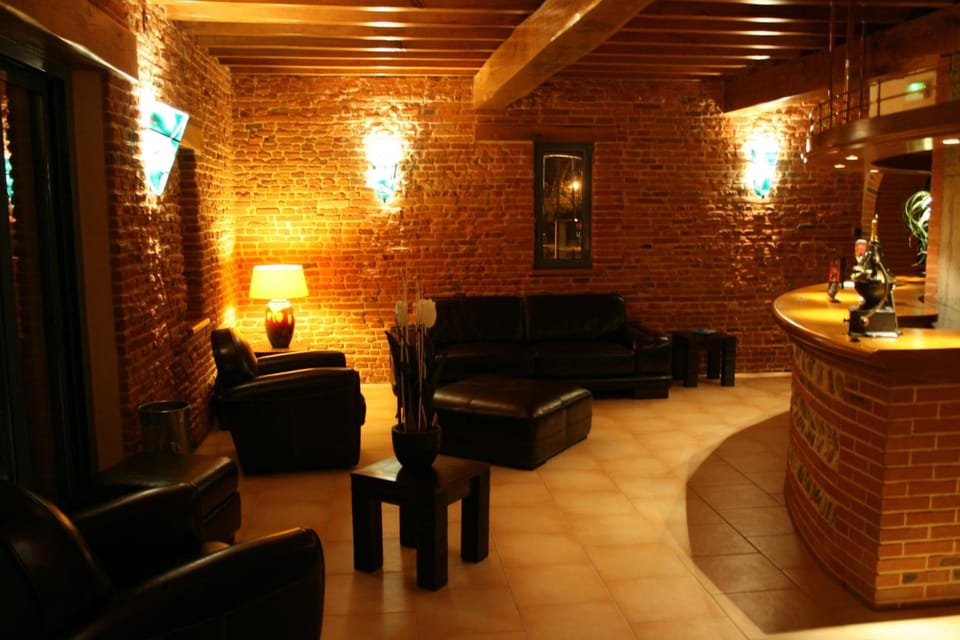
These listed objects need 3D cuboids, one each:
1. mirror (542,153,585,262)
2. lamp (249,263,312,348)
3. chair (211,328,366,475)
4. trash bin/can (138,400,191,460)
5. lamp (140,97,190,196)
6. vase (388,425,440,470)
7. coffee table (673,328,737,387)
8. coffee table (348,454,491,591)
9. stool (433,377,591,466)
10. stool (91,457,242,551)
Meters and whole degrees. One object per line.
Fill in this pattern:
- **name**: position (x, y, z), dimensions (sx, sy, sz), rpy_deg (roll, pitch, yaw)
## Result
- **mirror**: position (1.007, -1.358, 8.731), dimensions (0.537, 1.276, 0.276), rpy_deg (1, 16, 4)
- **lamp**: position (-2.299, -0.181, 7.993), dimensions (0.876, 1.084, 0.831), rpy_deg (-2, 3, -23)
- **chair**: position (-1.592, 0.587, 6.320), dimensions (1.310, 1.065, 1.260), rpy_deg (-2, 8, -15)
- **trash bin/can**: position (-2.056, 0.712, 4.817), dimensions (0.364, 0.371, 0.349), rpy_deg (1, 7, 2)
- **lamp**: position (-2.491, -1.391, 5.656), dimensions (0.154, 0.550, 0.634), rpy_deg (5, -12, 9)
- **vase**: position (-0.402, 0.821, 4.711), dimensions (0.355, 0.239, 0.336), rpy_deg (8, -19, -36)
- **coffee table**: position (2.607, 0.449, 8.647), dimensions (0.742, 0.682, 0.693), rpy_deg (1, 3, 5)
- **coffee table**: position (-0.333, 1.227, 4.813), dimensions (0.798, 0.721, 0.805), rpy_deg (3, 7, 32)
- **stool**: position (0.189, 0.852, 6.546), dimensions (1.447, 0.477, 1.318), rpy_deg (2, 9, 18)
- **stool**: position (-1.939, 1.057, 4.571), dimensions (0.697, 0.469, 0.673), rpy_deg (0, 3, 6)
